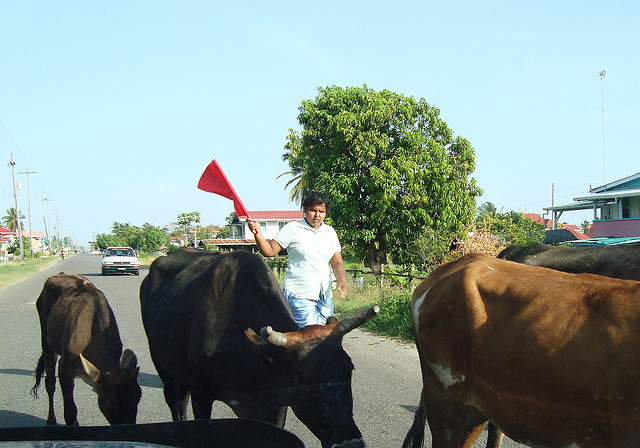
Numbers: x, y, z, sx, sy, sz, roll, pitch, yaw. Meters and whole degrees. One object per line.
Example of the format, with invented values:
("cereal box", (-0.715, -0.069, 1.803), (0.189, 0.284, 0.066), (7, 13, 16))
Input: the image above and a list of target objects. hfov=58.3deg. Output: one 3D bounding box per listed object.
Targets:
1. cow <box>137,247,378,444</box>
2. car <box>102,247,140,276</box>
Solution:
("cow", (-0.740, 1.092, 5.263), (0.967, 1.530, 2.914), (-3, -1, -35))
("car", (-9.192, 1.728, 26.834), (1.068, 0.943, 2.037), (1, -7, -14))
